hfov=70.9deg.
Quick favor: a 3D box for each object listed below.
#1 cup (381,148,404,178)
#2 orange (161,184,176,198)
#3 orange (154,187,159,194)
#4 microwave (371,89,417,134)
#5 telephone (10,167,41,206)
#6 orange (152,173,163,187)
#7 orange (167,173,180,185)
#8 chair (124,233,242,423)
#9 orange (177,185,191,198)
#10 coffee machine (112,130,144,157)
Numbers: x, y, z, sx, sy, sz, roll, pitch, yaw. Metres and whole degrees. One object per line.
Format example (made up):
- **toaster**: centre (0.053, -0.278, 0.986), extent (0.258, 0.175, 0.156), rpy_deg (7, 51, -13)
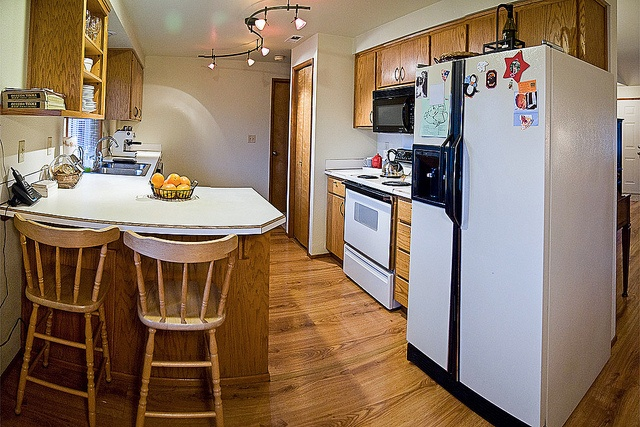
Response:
- **cup**: centre (0.896, -0.558, 5.053), extent (0.259, 0.338, 0.348), rpy_deg (0, 1, 21)
- **orange**: centre (-1.150, -0.167, 3.383), extent (0.097, 0.107, 0.091), rpy_deg (10, -6, 34)
- **orange**: centre (-1.247, -0.172, 3.391), extent (0.051, 0.038, 0.045), rpy_deg (-4, 11, -29)
- **microwave**: centre (0.754, -1.082, 4.703), extent (0.466, 0.501, 0.688), rpy_deg (-2, 8, -19)
- **telephone**: centre (-2.075, -0.193, 3.118), extent (0.158, 0.249, 0.212), rpy_deg (-5, 14, -22)
- **orange**: centre (-1.233, -0.251, 3.377), extent (0.094, 0.107, 0.095), rpy_deg (11, 15, 33)
- **orange**: centre (-1.130, -0.264, 3.479), extent (0.087, 0.101, 0.091), rpy_deg (-1, 12, -42)
- **chair**: centre (-0.857, 0.707, 2.875), extent (0.666, 1.263, 0.633), rpy_deg (-3, 13, -13)
- **orange**: centre (-1.045, -0.169, 3.414), extent (0.089, 0.091, 0.091), rpy_deg (0, -3, 2)
- **coffee machine**: centre (-2.343, -0.824, 5.289), extent (0.249, 0.328, 0.413), rpy_deg (-7, 14, -28)
